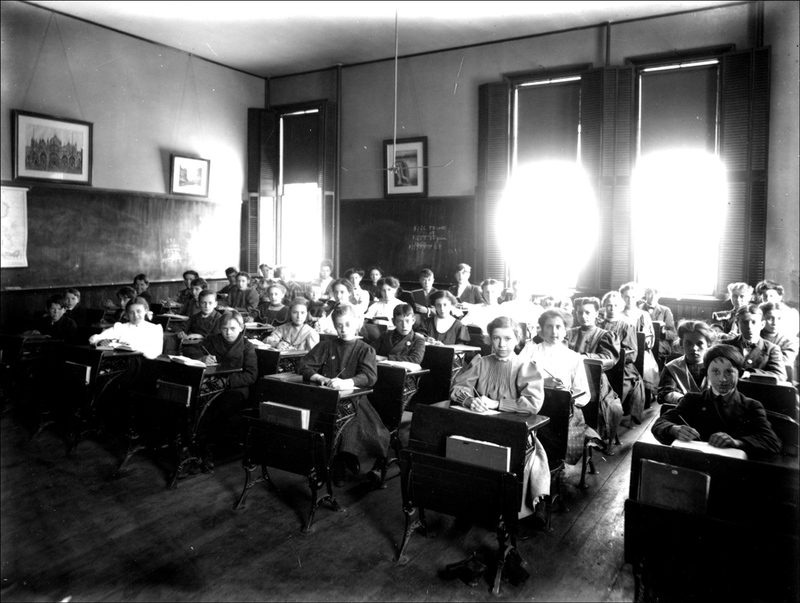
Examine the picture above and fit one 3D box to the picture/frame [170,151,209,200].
[{"bbox_3d":[-3.577,-2.111,10.255,0.093,0.786,0.884,4,3,33],"label":"picture/frame"}]
